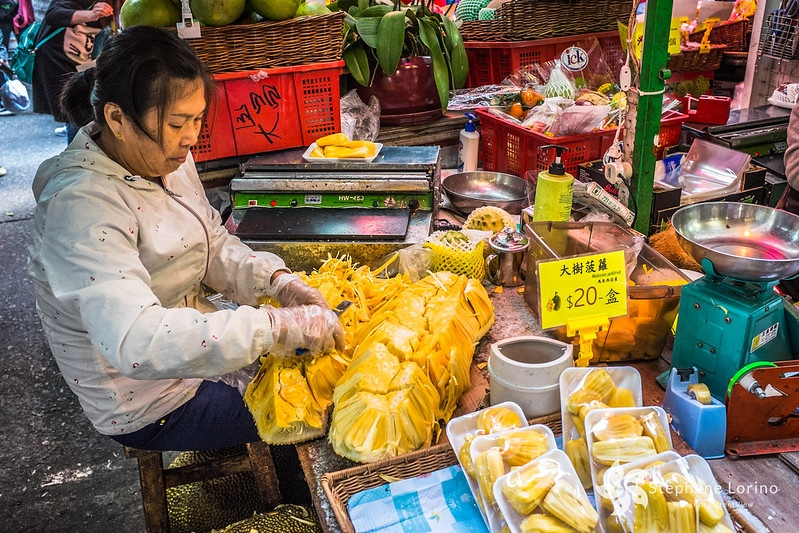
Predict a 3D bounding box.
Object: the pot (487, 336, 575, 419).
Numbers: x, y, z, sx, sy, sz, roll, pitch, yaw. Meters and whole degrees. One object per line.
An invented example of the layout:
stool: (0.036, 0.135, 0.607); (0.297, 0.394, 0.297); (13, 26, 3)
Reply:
pot: (0.461, 0.362, 1.962); (0.296, 0.246, 0.291); (-2, 15, 0)

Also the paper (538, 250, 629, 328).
paper: (0.728, 0.089, 2.068); (0.393, 0.286, 0.022); (-7, 9, -11)

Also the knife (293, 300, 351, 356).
knife: (-0.255, 0.224, 2.209); (0.073, 0.074, 0.499); (42, 32, 9)

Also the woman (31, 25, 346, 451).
woman: (-0.897, -0.004, 2.067); (0.918, 1.703, 1.083); (-23, 33, -34)
